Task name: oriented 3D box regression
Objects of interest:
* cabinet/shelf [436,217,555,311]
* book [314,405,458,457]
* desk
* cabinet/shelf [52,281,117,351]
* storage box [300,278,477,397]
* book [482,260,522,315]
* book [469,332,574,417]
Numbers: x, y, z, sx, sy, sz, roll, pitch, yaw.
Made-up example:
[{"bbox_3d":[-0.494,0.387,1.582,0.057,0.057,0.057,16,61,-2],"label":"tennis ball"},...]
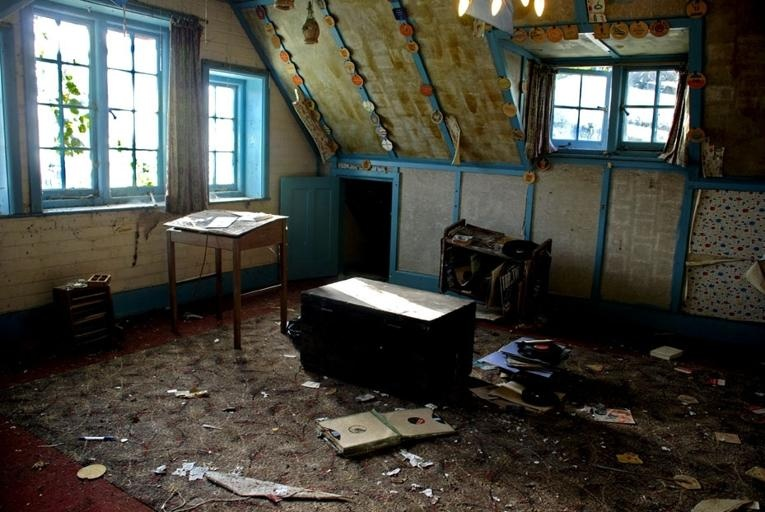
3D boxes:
[{"bbox_3d":[1.510,0.148,7.056,1.074,0.835,1.419,-15,22,-29],"label":"cabinet/shelf"},{"bbox_3d":[0.029,1.494,4.733,0.840,0.072,0.427,0,11,-21],"label":"book"},{"bbox_3d":[-1.812,0.197,6.528,1.360,1.486,1.061,7,13,30],"label":"desk"},{"bbox_3d":[-3.195,0.615,5.944,0.535,0.739,0.371,-7,14,-29],"label":"cabinet/shelf"},{"bbox_3d":[0.198,0.942,5.804,1.187,0.788,1.877,5,0,-39],"label":"storage box"},{"bbox_3d":[1.457,0.360,6.686,0.214,0.568,0.507,13,1,-42],"label":"book"},{"bbox_3d":[1.327,1.177,5.424,0.811,0.165,0.823,7,20,28],"label":"book"}]
